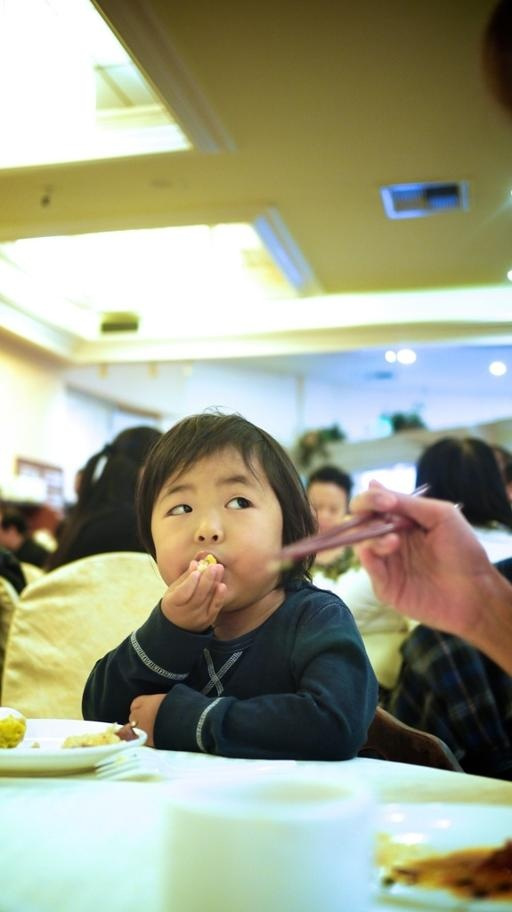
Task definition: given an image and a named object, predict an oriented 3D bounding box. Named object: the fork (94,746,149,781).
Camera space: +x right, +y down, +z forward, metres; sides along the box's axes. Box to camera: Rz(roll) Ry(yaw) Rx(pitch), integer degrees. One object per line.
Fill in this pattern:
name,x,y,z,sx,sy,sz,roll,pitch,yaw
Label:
fork,-0.081,0.180,0.436,0.011,0.008,0.054,5,0,13
